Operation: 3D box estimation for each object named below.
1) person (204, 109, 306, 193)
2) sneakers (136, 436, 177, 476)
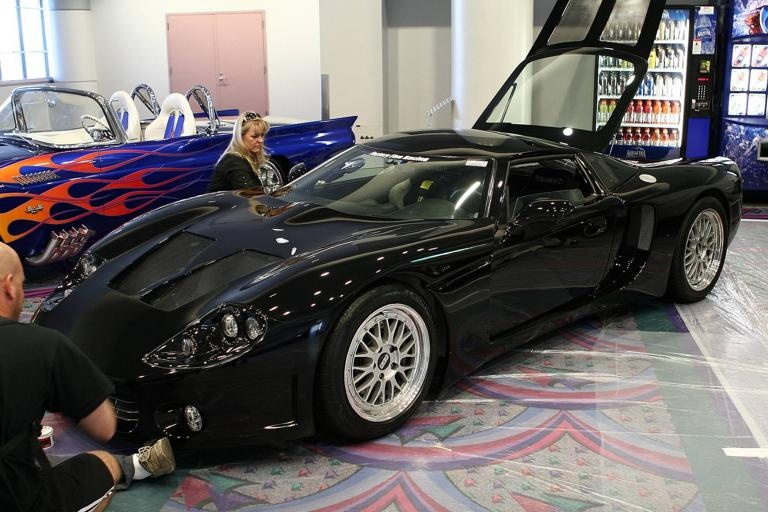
[{"bbox_3d":[-1.438,-1.156,5.277,0.910,1.001,1.761,1,24,-3],"label":"person"},{"bbox_3d":[-1.119,1.000,2.341,0.274,0.144,0.087,-8,5,16],"label":"sneakers"}]
